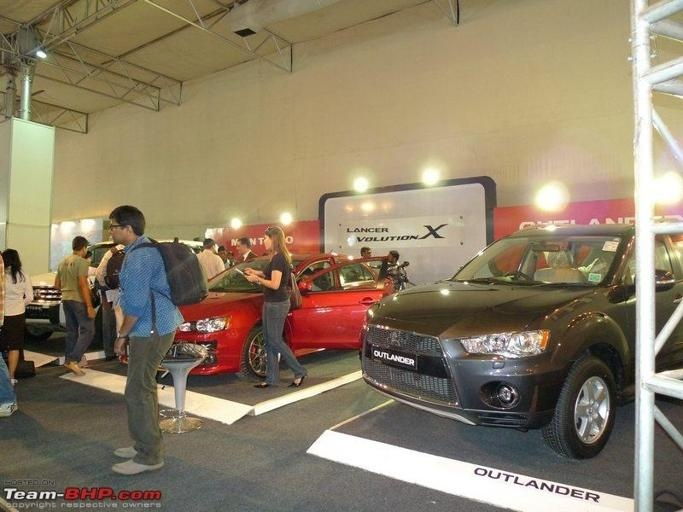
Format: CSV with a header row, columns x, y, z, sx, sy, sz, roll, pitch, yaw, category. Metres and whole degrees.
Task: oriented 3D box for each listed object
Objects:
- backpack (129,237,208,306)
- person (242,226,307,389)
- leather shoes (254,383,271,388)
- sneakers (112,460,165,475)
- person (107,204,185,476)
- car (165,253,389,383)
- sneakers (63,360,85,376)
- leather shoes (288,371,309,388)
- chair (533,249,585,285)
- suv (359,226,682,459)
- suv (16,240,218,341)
x,y,z,sx,sy,sz,roll,pitch,yaw,category
-1.340,0.128,3.885,0.635,0.577,0.432,-7,4,-16,backpack
-0.775,0.632,5.601,0.661,1.958,0.633,-2,5,-5,person
-0.943,1.560,5.653,0.203,0.046,0.074,11,-12,-44,leather shoes
-1.662,1.714,3.817,0.351,0.097,0.136,5,-2,-17,sneakers
-1.675,0.664,3.889,0.539,2.174,0.453,-6,7,-44,person
-0.680,0.713,6.203,1.299,0.930,2.703,-2,-1,43,car
-3.611,1.528,6.337,0.245,0.107,0.095,32,-19,7,sneakers
-0.509,1.528,5.721,0.108,0.121,0.299,-9,-10,28,leather shoes
2.142,0.105,4.603,0.426,0.348,0.200,-1,7,41,chair
1.995,0.574,4.544,3.314,1.388,1.726,-2,-2,-35,suv
-4.204,0.534,9.108,1.958,1.595,3.568,-3,-3,38,suv
